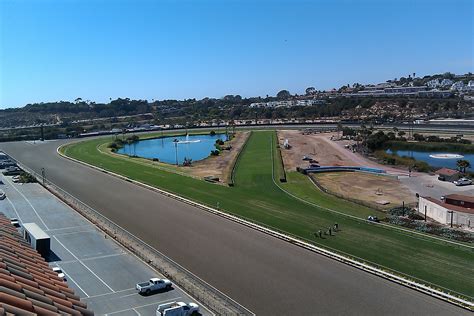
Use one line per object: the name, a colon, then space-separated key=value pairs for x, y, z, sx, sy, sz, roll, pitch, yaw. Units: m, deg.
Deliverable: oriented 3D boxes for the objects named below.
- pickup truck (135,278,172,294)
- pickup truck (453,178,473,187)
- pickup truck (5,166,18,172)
pickup truck: x=-6.617 y=10.229 z=29.478 sx=2.763 sy=0.628 sz=1.145 roll=-4 pitch=10 yaw=-25
pickup truck: x=30.990 y=3.355 z=50.872 sx=2.323 sy=0.783 sz=1.675 roll=-6 pitch=11 yaw=-18
pickup truck: x=-39.658 y=2.021 z=66.067 sx=1.555 sy=0.534 sz=1.516 roll=4 pitch=5 yaw=39
